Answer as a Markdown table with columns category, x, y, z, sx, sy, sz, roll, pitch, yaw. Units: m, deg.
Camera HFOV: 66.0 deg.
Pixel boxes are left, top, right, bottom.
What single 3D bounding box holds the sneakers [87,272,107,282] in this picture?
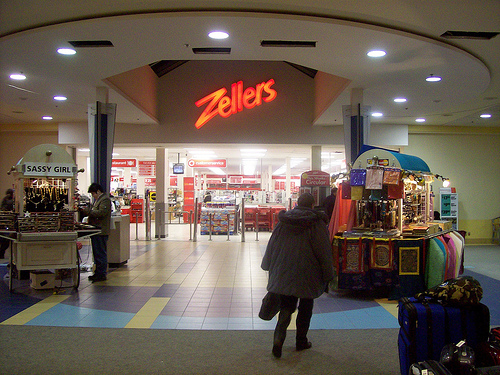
| category | x | y | z | sx | sy | sz | roll | pitch | yaw |
| --- | --- | --- | --- | --- | --- | --- | --- | --- | --- |
| sneakers | -2.998 | 1.765 | 7.612 | 0.383 | 0.187 | 0.147 | 6 | -2 | -18 |

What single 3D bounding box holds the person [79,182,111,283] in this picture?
| category | x | y | z | sx | sy | sz | roll | pitch | yaw |
| --- | --- | --- | --- | --- | --- | --- | --- | --- | --- |
| person | -3.006 | 0.875 | 7.728 | 0.587 | 1.903 | 0.536 | 1 | 1 | 24 |

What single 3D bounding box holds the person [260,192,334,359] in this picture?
| category | x | y | z | sx | sy | sz | roll | pitch | yaw |
| --- | --- | --- | --- | --- | --- | --- | --- | --- | --- |
| person | 0.549 | 1.021 | 4.531 | 0.852 | 1.882 | 0.478 | 0 | 1 | 7 |

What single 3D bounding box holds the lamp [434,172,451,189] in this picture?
| category | x | y | z | sx | sy | sz | roll | pitch | yaw |
| --- | --- | --- | --- | --- | --- | --- | --- | --- | --- |
| lamp | 6.079 | -0.185 | 12.171 | 0.323 | 0.511 | 0.518 | -9 | -14 | -35 |

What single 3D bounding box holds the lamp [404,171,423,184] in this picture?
| category | x | y | z | sx | sy | sz | roll | pitch | yaw |
| --- | --- | --- | --- | --- | --- | --- | --- | --- | --- |
| lamp | 3.142 | -0.206 | 7.403 | 0.196 | 0.196 | 0.836 | 20 | 13 | 42 |

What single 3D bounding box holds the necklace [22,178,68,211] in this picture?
| category | x | y | z | sx | sy | sz | roll | pitch | yaw |
| --- | --- | --- | --- | --- | --- | --- | --- | --- | --- |
| necklace | -3.943 | 0.145 | 7.471 | 0.747 | 0.632 | 0.245 | 0 | 1 | -20 |

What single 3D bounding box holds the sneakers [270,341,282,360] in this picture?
| category | x | y | z | sx | sy | sz | roll | pitch | yaw |
| --- | --- | --- | --- | --- | --- | --- | --- | --- | --- |
| sneakers | 0.303 | 1.858 | 4.414 | 0.106 | 0.189 | 0.083 | 1 | -6 | 6 |
